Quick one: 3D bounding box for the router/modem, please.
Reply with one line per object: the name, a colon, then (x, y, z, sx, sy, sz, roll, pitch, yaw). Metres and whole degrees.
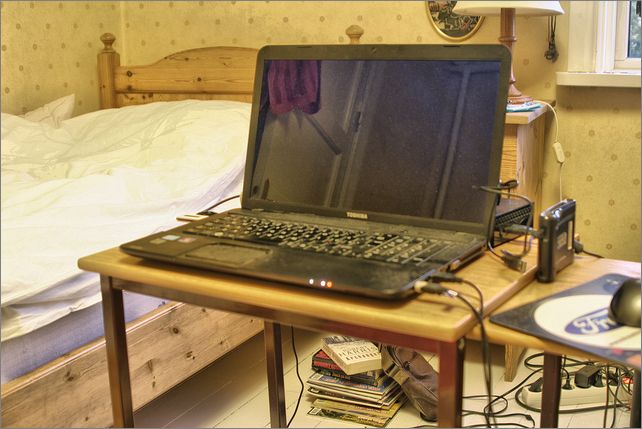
router/modem: (0.506, 0.052, 1.056, 0.041, 0.143, 0.158, 9, 19, 43)
